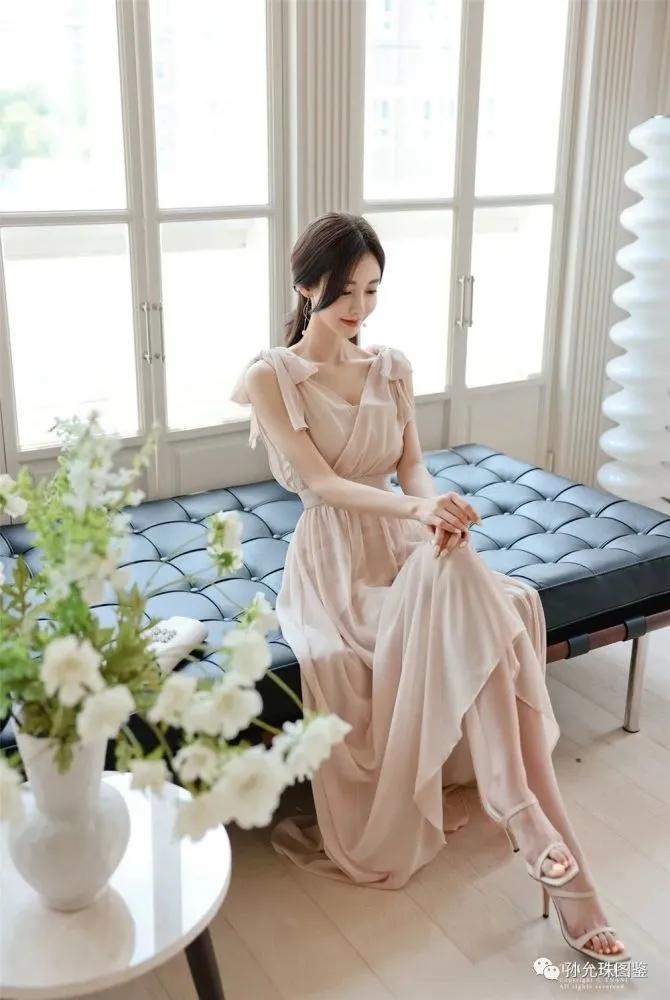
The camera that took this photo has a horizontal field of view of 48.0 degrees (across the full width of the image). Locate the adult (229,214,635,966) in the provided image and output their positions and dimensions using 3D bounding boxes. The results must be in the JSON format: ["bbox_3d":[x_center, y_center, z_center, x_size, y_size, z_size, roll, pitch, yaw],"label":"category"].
[{"bbox_3d":[0.225,0.115,1.699,0.521,1.419,1.171,-11,20,-28],"label":"adult"}]

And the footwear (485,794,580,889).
[{"bbox_3d":[0.372,0.623,1.468,0.088,0.081,0.220,-26,26,-13],"label":"footwear"}]

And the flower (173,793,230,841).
[{"bbox_3d":[-0.100,0.252,0.608,0.049,0.047,0.011,-1,17,4],"label":"flower"}]

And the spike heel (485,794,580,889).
[{"bbox_3d":[0.373,0.625,1.470,0.088,0.081,0.220,-26,26,-13],"label":"spike heel"}]
